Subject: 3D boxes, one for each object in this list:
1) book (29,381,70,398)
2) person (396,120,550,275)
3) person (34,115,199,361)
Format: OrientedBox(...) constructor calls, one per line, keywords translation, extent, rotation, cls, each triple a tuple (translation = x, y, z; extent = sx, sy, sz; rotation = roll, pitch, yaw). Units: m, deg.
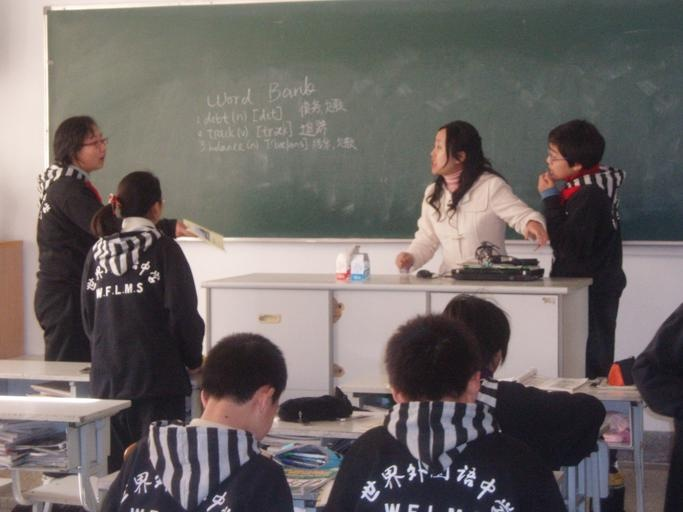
OrientedBox(translation=(-1.426, 0.651, 3.905), extent=(0.116, 0.036, 0.125), rotation=(-1, 0, 5), cls="book")
OrientedBox(translation=(0.782, -0.341, 4.499), extent=(0.492, 1.090, 0.744), rotation=(-17, 14, -38), cls="person")
OrientedBox(translation=(-1.294, 0.148, 4.584), extent=(0.842, 1.981, 0.574), rotation=(-2, 30, -25), cls="person")
